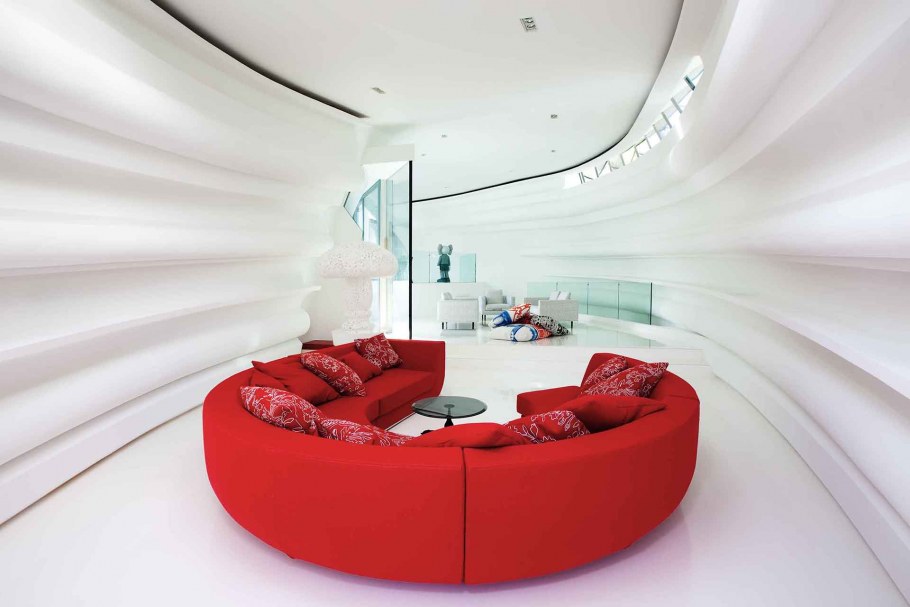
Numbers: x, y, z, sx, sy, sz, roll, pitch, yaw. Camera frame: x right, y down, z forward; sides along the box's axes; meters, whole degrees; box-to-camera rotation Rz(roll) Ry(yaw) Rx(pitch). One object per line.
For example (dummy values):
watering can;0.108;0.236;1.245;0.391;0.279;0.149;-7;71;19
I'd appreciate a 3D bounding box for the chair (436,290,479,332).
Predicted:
chair;0.066;0.176;10.486;0.796;0.744;0.831;-1;2;2

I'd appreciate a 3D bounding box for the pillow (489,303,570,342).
pillow;1.293;0.375;8.968;0.875;0.274;0.946;-5;8;-27

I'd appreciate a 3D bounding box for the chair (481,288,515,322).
chair;1.024;0.027;12.307;0.814;0.850;0.833;0;-4;-5
